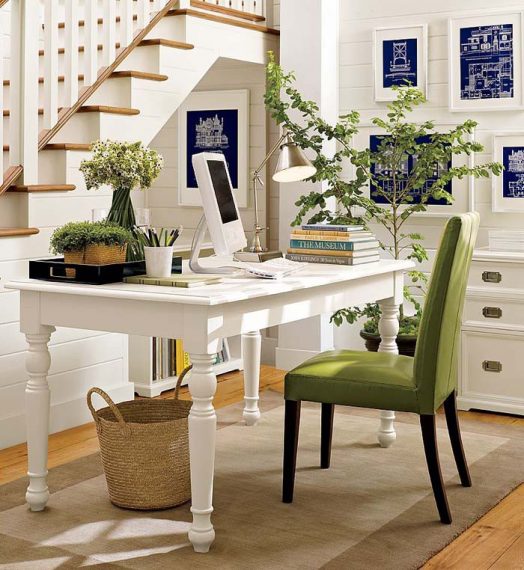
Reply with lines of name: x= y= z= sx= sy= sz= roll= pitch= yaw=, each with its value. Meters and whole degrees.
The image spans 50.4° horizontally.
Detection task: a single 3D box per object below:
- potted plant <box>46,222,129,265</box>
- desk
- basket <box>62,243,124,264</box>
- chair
potted plant: x=-0.517 y=-0.106 z=1.658 sx=0.168 sy=0.085 sz=0.163 roll=3 pitch=3 yaw=31
desk: x=-0.066 y=0.304 z=2.738 sx=1.562 sy=0.861 sz=2.658 roll=2 pitch=1 yaw=28
basket: x=-0.486 y=-0.083 z=1.673 sx=0.084 sy=0.036 sz=0.113 roll=0 pitch=0 yaw=32
chair: x=0.420 y=0.259 z=1.939 sx=0.593 sy=0.868 sz=0.523 roll=1 pitch=-1 yaw=18
